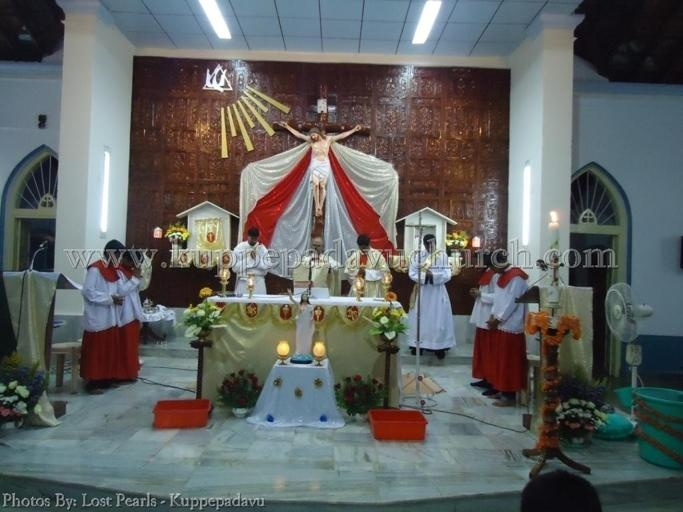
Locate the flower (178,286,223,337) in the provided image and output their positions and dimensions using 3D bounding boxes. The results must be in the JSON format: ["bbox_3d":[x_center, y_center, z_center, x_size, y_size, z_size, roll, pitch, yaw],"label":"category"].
[{"bbox_3d":[-1.876,0.788,7.651,0.659,0.712,0.667,1,1,-9],"label":"flower"}]

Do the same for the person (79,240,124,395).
[{"bbox_3d":[-3.438,0.807,8.320,0.448,1.959,0.702,4,9,18],"label":"person"}]

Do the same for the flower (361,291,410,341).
[{"bbox_3d":[0.622,0.807,7.546,0.510,0.539,0.594,3,-3,-35],"label":"flower"}]

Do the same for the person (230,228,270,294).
[{"bbox_3d":[-1.512,0.112,9.525,0.615,1.150,0.715,-1,9,-9],"label":"person"}]

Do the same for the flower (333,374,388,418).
[{"bbox_3d":[0.235,1.769,7.385,0.636,0.483,0.294,1,9,-3],"label":"flower"}]

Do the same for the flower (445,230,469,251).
[{"bbox_3d":[2.197,-0.298,11.135,0.382,0.224,0.395,1,-2,0],"label":"flower"}]

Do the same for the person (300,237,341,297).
[{"bbox_3d":[-0.338,0.216,10.017,0.790,1.369,0.719,-1,5,4],"label":"person"}]

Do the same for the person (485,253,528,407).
[{"bbox_3d":[2.313,0.908,7.981,0.594,1.935,0.498,6,10,30],"label":"person"}]

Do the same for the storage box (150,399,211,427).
[{"bbox_3d":[-1.981,1.969,7.164,0.471,0.166,0.379,1,3,-1],"label":"storage box"}]

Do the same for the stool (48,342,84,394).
[{"bbox_3d":[-3.982,1.616,8.306,0.588,0.666,0.590,3,-2,-40],"label":"stool"}]

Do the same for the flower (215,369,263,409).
[{"bbox_3d":[-1.343,1.699,7.411,0.486,0.498,0.502,1,-10,0],"label":"flower"}]

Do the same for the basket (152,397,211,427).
[{"bbox_3d":[-2.004,1.970,7.160,0.471,0.166,0.379,1,3,-1],"label":"basket"}]

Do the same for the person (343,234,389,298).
[{"bbox_3d":[0.444,0.251,9.892,0.769,1.372,0.572,3,39,4],"label":"person"}]

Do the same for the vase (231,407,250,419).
[{"bbox_3d":[-1.303,2.000,7.363,0.259,0.113,0.161,2,10,4],"label":"vase"}]

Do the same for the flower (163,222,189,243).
[{"bbox_3d":[-3.208,-0.432,11.041,0.395,0.290,0.409,0,0,15],"label":"flower"}]

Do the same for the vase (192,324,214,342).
[{"bbox_3d":[-1.817,1.005,7.529,0.212,0.161,0.219,0,-7,8],"label":"vase"}]
